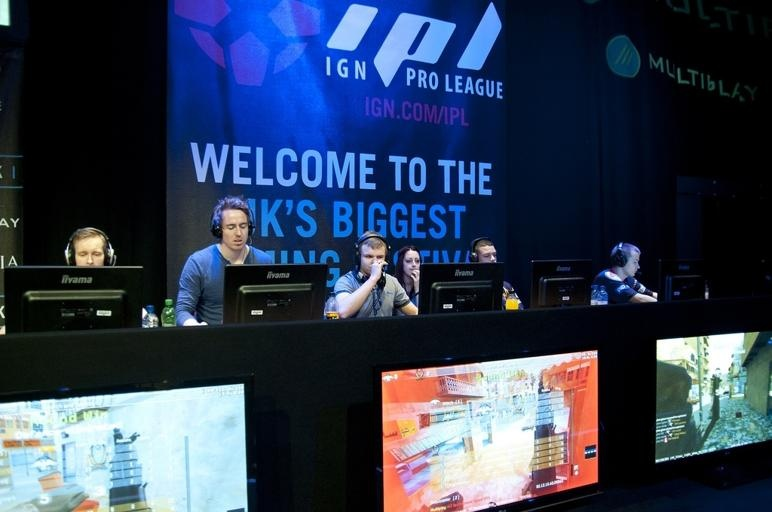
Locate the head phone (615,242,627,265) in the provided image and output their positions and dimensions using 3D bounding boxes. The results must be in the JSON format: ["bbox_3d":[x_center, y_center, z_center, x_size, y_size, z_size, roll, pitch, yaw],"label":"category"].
[{"bbox_3d":[1.906,-0.014,4.800,0.066,0.149,0.163,0,-5,24],"label":"head phone"}]

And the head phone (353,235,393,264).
[{"bbox_3d":[-0.108,-0.043,3.829,0.207,0.191,0.075,0,-6,-4],"label":"head phone"}]

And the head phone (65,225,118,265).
[{"bbox_3d":[-1.847,-0.049,3.640,0.245,0.242,0.229,13,13,29],"label":"head phone"}]

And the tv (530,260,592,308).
[{"bbox_3d":[0.993,0.160,3.378,0.257,0.267,0.087,0,5,-16],"label":"tv"}]

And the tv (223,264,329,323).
[{"bbox_3d":[-0.517,0.171,2.732,0.386,0.383,0.300,2,-3,-15],"label":"tv"}]

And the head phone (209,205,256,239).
[{"bbox_3d":[-1.046,-0.228,3.948,0.238,0.232,0.094,0,-5,-16],"label":"head phone"}]

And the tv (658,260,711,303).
[{"bbox_3d":[1.921,0.161,3.839,0.301,0.311,0.101,1,-4,-12],"label":"tv"}]

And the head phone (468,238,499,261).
[{"bbox_3d":[0.711,-0.034,4.288,0.163,0.177,0.167,0,-10,-22],"label":"head phone"}]
